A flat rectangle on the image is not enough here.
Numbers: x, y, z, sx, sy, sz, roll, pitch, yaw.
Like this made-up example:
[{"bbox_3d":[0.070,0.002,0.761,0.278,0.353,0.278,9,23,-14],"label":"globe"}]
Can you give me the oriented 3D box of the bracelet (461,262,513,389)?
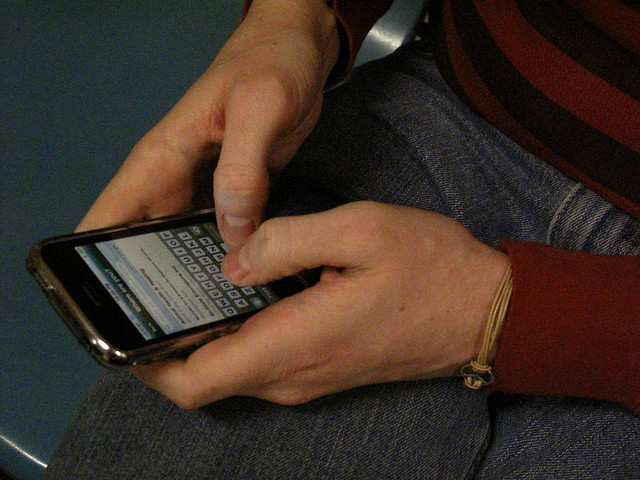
[{"bbox_3d":[0.222,0.118,0.789,0.047,0.038,0.168,15,91,32],"label":"bracelet"}]
